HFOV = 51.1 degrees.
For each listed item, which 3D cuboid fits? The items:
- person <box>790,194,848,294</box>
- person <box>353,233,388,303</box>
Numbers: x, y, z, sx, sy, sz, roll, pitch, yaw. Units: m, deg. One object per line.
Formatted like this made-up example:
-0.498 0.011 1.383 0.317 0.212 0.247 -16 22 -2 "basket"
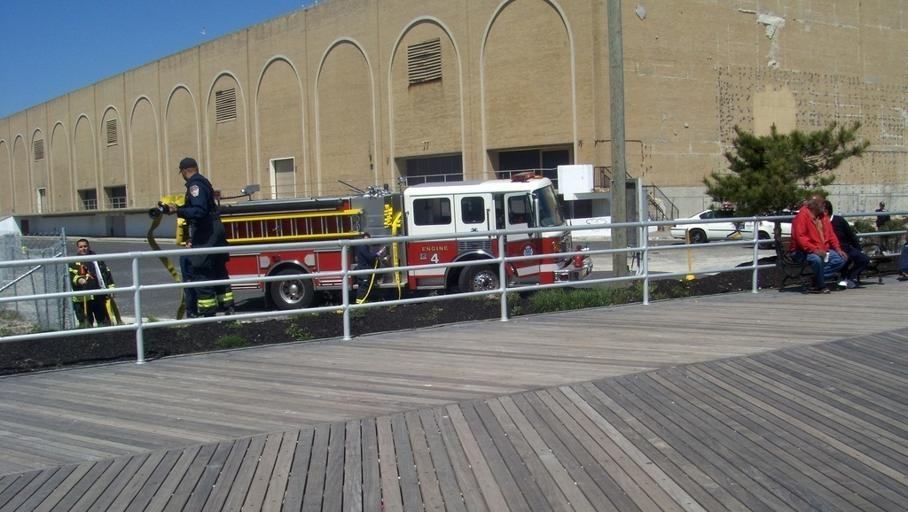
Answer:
10.258 -0.340 26.710 1.445 2.749 0.645 -4 1 -23 "person"
-2.306 0.407 26.242 0.722 0.636 1.794 -5 29 -4 "person"
